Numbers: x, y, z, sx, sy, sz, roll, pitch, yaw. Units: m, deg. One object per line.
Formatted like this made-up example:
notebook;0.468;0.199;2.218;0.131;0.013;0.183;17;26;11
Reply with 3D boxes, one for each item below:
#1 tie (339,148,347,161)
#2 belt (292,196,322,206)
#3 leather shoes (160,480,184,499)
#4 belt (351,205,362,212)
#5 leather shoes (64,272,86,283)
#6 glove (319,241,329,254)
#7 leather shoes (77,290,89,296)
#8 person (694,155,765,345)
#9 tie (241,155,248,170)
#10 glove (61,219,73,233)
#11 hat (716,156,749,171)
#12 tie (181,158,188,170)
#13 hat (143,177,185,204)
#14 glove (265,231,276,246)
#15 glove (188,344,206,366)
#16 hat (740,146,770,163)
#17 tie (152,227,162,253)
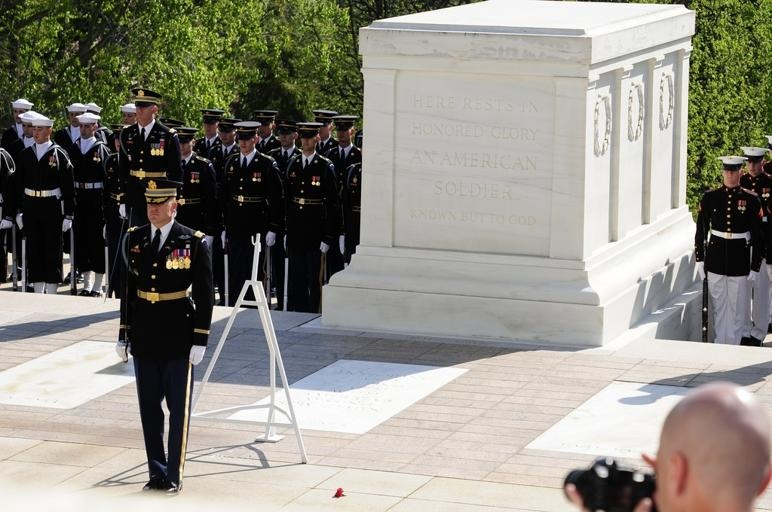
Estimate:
tie;-0.630;-1.506;20.005;0.117;0.128;0.037;-1;-27;13
belt;-1.036;-0.735;18.263;0.389;0.112;0.084;1;4;22
leather shoes;-1.890;2.070;12.313;0.135;0.124;0.269;3;5;43
belt;-0.425;-0.697;19.920;0.134;0.059;0.031;2;0;9
leather shoes;-4.998;0.338;22.042;0.265;0.159;0.459;-2;-4;25
glove;-0.800;-0.123;18.227;0.145;0.101;0.109;2;10;6
leather shoes;-4.527;0.542;20.536;0.082;0.083;0.223;3;-7;-29
person;4.416;-0.077;17.677;0.817;2.418;0.337;0;4;12
tie;-1.896;-1.273;18.423;0.101;0.134;0.037;1;0;14
glove;-4.496;-0.448;19.529;0.192;0.164;0.073;5;-18;36
hat;4.455;-1.214;17.699;0.286;0.177;0.484;0;4;16
tie;-2.720;-1.258;18.636;0.064;0.164;0.087;-2;4;-15
hat;-2.042;-0.610;12.694;0.376;0.173;0.379;0;3;15
glove;-1.570;-0.238;18.430;0.073;0.170;0.186;14;16;-23
glove;-1.710;0.892;12.430;0.139;0.190;0.118;-1;4;-7
hat;4.951;-1.378;18.394;0.346;0.117;0.326;8;9;24
tie;-2.092;-0.144;12.560;0.062;0.211;0.054;7;-28;-2
